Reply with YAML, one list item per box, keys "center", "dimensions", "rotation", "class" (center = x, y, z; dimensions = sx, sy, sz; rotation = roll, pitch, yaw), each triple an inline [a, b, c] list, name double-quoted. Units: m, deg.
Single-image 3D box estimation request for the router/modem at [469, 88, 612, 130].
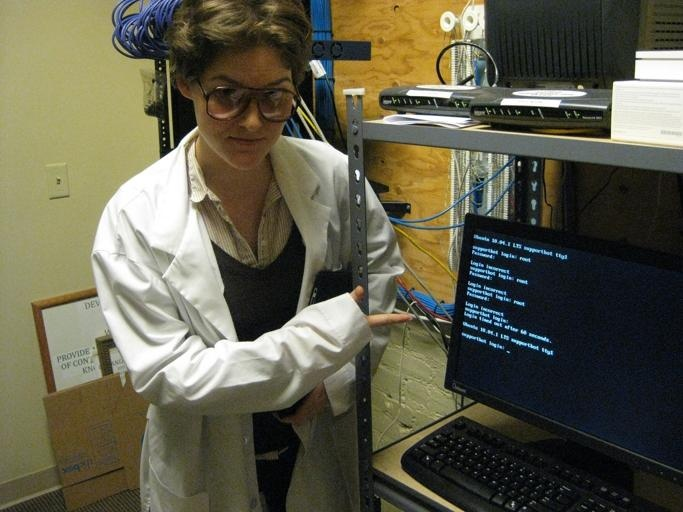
- center: [0.394, -0.293, 1.145]
  dimensions: [0.259, 0.073, 0.196]
  rotation: [4, 20, 25]
  class: "router/modem"
